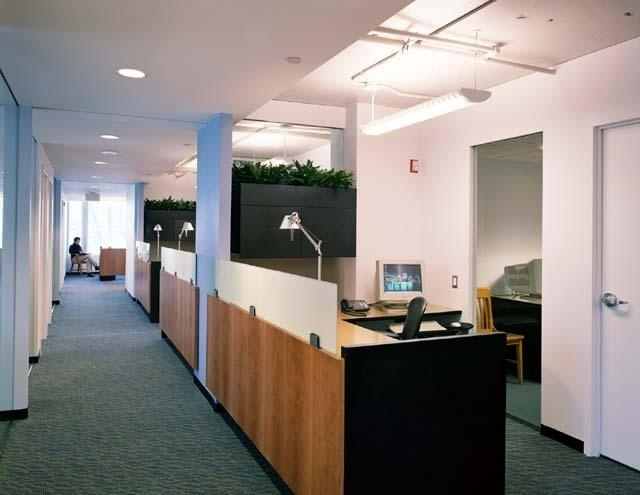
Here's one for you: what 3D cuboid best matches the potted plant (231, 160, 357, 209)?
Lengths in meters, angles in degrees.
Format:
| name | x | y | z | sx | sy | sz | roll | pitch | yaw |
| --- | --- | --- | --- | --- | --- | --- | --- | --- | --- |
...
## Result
| name | x | y | z | sx | sy | sz | roll | pitch | yaw |
| --- | --- | --- | --- | --- | --- | --- | --- | --- | --- |
| potted plant | -0.336 | -0.729 | 5.200 | 0.876 | 0.313 | 0.531 | -4 | 14 | -21 |

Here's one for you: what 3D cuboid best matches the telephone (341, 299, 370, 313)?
| name | x | y | z | sx | sy | sz | roll | pitch | yaw |
| --- | --- | --- | --- | --- | --- | --- | --- | --- | --- |
| telephone | 0.354 | 0.592 | 4.889 | 0.154 | 0.063 | 0.184 | -3 | 7 | -8 |

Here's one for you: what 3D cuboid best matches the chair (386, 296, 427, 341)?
| name | x | y | z | sx | sy | sz | roll | pitch | yaw |
| --- | --- | --- | --- | --- | --- | --- | --- | --- | --- |
| chair | 0.736 | 0.598 | 4.132 | 0.332 | 0.413 | 0.270 | 5 | -1 | -16 |

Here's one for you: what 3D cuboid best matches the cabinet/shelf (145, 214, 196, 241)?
| name | x | y | z | sx | sy | sz | roll | pitch | yaw |
| --- | --- | --- | --- | --- | --- | --- | --- | --- | --- |
| cabinet/shelf | -3.042 | -0.468 | 9.998 | 0.927 | 0.626 | 0.517 | -1 | 6 | -28 |

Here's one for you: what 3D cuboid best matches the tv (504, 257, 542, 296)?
| name | x | y | z | sx | sy | sz | roll | pitch | yaw |
| --- | --- | --- | --- | --- | --- | --- | --- | --- | --- |
| tv | 2.617 | 0.419 | 6.205 | 0.337 | 0.437 | 0.457 | 7 | -10 | -31 |

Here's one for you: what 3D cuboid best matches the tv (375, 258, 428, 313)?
| name | x | y | z | sx | sy | sz | roll | pitch | yaw |
| --- | --- | --- | --- | --- | --- | --- | --- | --- | --- |
| tv | 0.906 | 0.319 | 5.378 | 0.493 | 0.529 | 0.288 | -2 | 21 | 8 |

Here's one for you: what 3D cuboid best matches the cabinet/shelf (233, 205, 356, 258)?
| name | x | y | z | sx | sy | sz | roll | pitch | yaw |
| --- | --- | --- | --- | --- | --- | --- | --- | --- | --- |
| cabinet/shelf | -0.307 | -0.208 | 5.266 | 1.043 | 0.540 | 0.543 | 2 | -3 | -23 |

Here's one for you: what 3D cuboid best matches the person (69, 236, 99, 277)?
| name | x | y | z | sx | sy | sz | roll | pitch | yaw |
| --- | --- | --- | --- | --- | --- | --- | --- | --- | --- |
| person | -7.836 | 0.274 | 16.115 | 0.767 | 1.251 | 1.200 | 0 | 3 | -11 |

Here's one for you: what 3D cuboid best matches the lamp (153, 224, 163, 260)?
| name | x | y | z | sx | sy | sz | roll | pitch | yaw |
| --- | --- | --- | --- | --- | --- | --- | --- | --- | --- |
| lamp | -3.215 | -0.117 | 9.639 | 0.166 | 0.691 | 0.998 | 0 | 4 | -18 |

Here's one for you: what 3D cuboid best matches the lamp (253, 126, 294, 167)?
| name | x | y | z | sx | sy | sz | roll | pitch | yaw |
| --- | --- | --- | --- | --- | --- | --- | --- | --- | --- |
| lamp | -0.514 | -1.206 | 5.939 | 0.435 | 0.621 | 0.444 | -2 | 8 | -35 |
